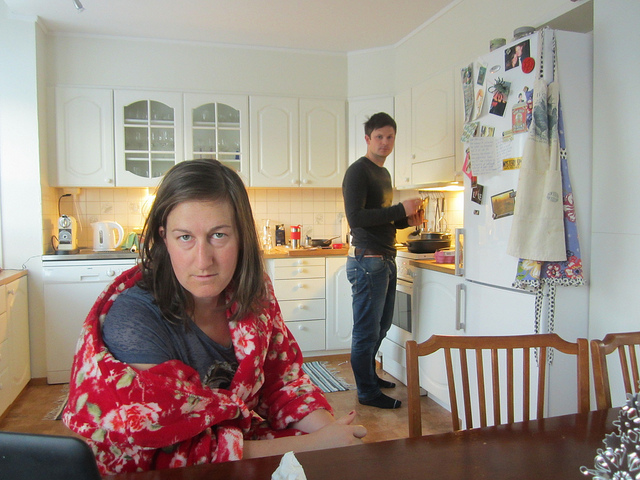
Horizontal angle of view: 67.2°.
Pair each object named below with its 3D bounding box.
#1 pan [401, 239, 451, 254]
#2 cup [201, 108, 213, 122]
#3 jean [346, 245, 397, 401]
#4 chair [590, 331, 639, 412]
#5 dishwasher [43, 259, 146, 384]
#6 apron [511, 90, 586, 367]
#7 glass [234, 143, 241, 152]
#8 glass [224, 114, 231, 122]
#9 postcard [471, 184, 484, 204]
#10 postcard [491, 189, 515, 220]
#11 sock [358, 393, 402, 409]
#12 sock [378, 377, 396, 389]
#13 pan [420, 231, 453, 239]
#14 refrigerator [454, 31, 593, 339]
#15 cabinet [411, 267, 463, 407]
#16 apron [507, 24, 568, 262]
[{"bbox_3d":[0.743,0.041,3.285,0.285,0.091,0.160,-1,4,16],"label":"pan"},{"bbox_3d":[-0.920,-1.022,3.947,0.089,0.164,0.089,2,25,-1],"label":"cup"},{"bbox_3d":[0.358,0.527,3.102,0.332,1.008,0.227,-6,6,-39],"label":"jean"},{"bbox_3d":[0.937,0.422,1.522,0.139,0.226,0.319,1,5,30],"label":"chair"},{"bbox_3d":[-1.673,0.466,3.926,0.991,1.222,0.901,3,5,-26],"label":"dishwasher"},{"bbox_3d":[1.065,-0.080,2.397,0.293,1.476,0.397,0,2,0],"label":"apron"},{"bbox_3d":[-0.681,-0.766,4.003,0.055,0.068,0.052,1,10,8],"label":"glass"},{"bbox_3d":[-0.758,-1.002,3.985,0.055,0.042,0.045,-13,20,-39],"label":"glass"},{"bbox_3d":[0.841,-0.246,2.558,0.013,0.116,0.094,-1,10,-30],"label":"postcard"},{"bbox_3d":[0.918,-0.179,2.410,0.142,0.122,0.010,-16,10,-17],"label":"postcard"},{"bbox_3d":[0.410,1.036,3.105,0.232,0.096,0.085,-1,-8,7],"label":"sock"},{"bbox_3d":[0.461,1.000,3.345,0.140,0.059,0.048,-2,4,-9],"label":"sock"},{"bbox_3d":[0.788,-0.030,3.322,0.137,0.050,0.088,1,1,44],"label":"pan"},{"bbox_3d":[1.002,-0.167,2.481,0.464,1.696,0.463,10,-15,-9],"label":"refrigerator"},{"bbox_3d":[0.714,0.519,3.009,0.408,0.898,0.437,1,4,-10],"label":"cabinet"},{"bbox_3d":[1.001,-0.442,2.233,0.251,1.070,0.144,-2,5,6],"label":"apron"}]
